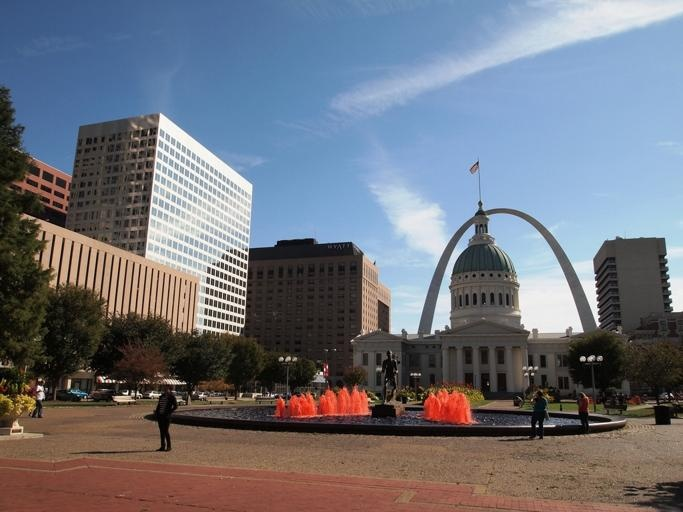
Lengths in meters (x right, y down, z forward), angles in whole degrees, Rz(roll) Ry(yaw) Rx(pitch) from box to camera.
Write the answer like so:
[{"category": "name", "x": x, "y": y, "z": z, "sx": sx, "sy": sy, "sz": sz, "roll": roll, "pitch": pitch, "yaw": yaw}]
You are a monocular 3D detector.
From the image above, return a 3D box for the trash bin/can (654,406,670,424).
[{"category": "trash bin/can", "x": 20.635, "y": 10.336, "z": 35.919, "sx": 0.914, "sy": 1.191, "sz": 1.888, "roll": -9, "pitch": -19, "yaw": 27}]
